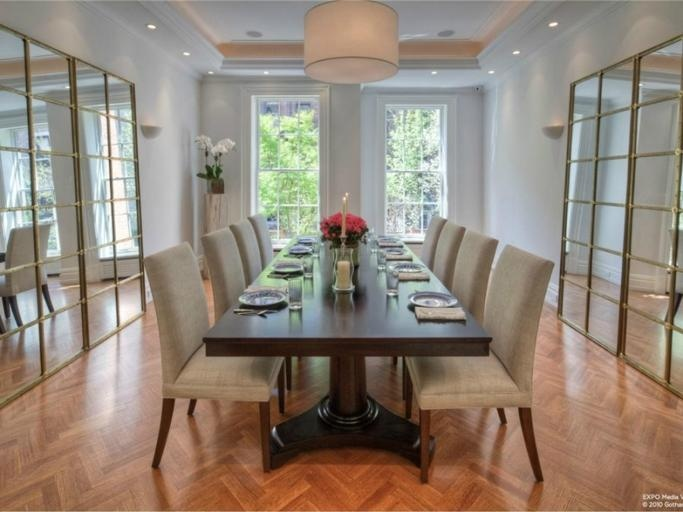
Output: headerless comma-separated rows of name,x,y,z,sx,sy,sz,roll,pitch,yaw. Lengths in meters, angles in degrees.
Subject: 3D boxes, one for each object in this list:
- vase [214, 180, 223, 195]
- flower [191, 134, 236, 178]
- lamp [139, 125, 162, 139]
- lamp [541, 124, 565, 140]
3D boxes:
vase,-1.706,-0.964,6.594,0.172,0.193,0.101,-8,16,-31
flower,-1.801,-1.407,6.704,0.657,0.696,0.483,2,-4,-10
lamp,-2.149,-1.401,5.401,0.155,0.146,0.269,0,13,-2
lamp,2.308,-1.351,5.228,0.157,0.125,0.162,-5,8,-24
